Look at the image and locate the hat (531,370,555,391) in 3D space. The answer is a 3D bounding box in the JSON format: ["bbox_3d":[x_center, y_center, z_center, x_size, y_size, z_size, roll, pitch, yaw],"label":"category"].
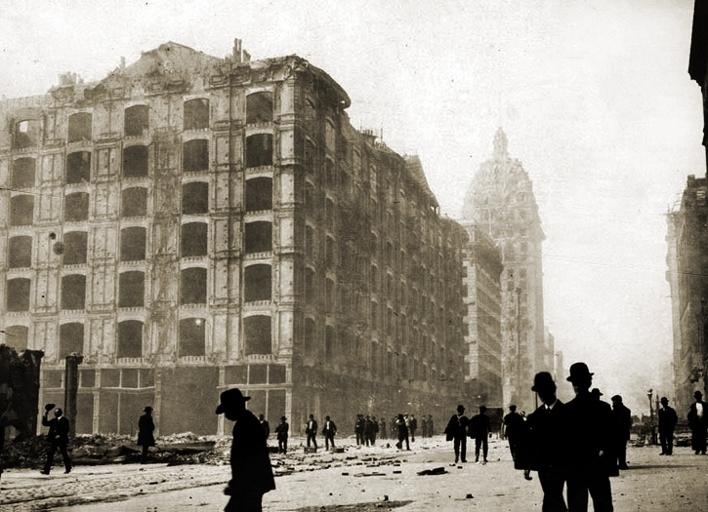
[{"bbox_3d":[6.586,4.274,42.338,0.597,0.419,0.818,-1,-4,24],"label":"hat"}]
